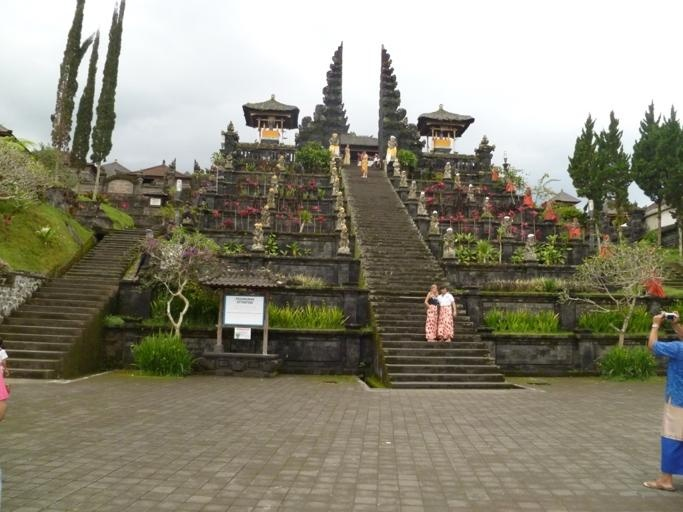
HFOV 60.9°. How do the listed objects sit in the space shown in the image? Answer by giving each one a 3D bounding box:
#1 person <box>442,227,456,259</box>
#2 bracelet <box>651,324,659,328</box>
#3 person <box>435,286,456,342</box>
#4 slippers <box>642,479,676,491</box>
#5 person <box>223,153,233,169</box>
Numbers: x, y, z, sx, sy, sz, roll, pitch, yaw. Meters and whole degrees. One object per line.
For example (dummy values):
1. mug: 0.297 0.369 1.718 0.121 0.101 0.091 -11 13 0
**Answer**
1. person: 4.273 -0.491 22.860 0.471 1.192 1.269 1 0 11
2. bracelet: 5.030 1.128 9.277 0.111 0.072 0.115 2 -4 -13
3. person: 3.223 1.871 17.883 0.524 1.644 0.391 1 0 2
4. slippers: 4.923 3.555 9.007 0.362 0.099 0.187 0 -6 26
5. person: -7.367 -6.095 37.980 0.426 0.921 1.356 1 0 -7
